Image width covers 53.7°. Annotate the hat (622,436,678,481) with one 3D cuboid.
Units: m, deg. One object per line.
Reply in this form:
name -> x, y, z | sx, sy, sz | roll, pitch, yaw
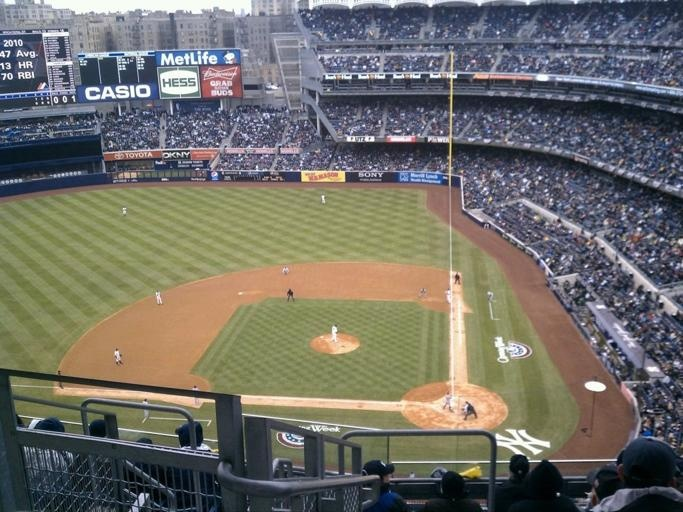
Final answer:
hat -> 3.641, 2.431, 8.058 | 0.445, 0.301, 0.651 | 5, 17, 31
